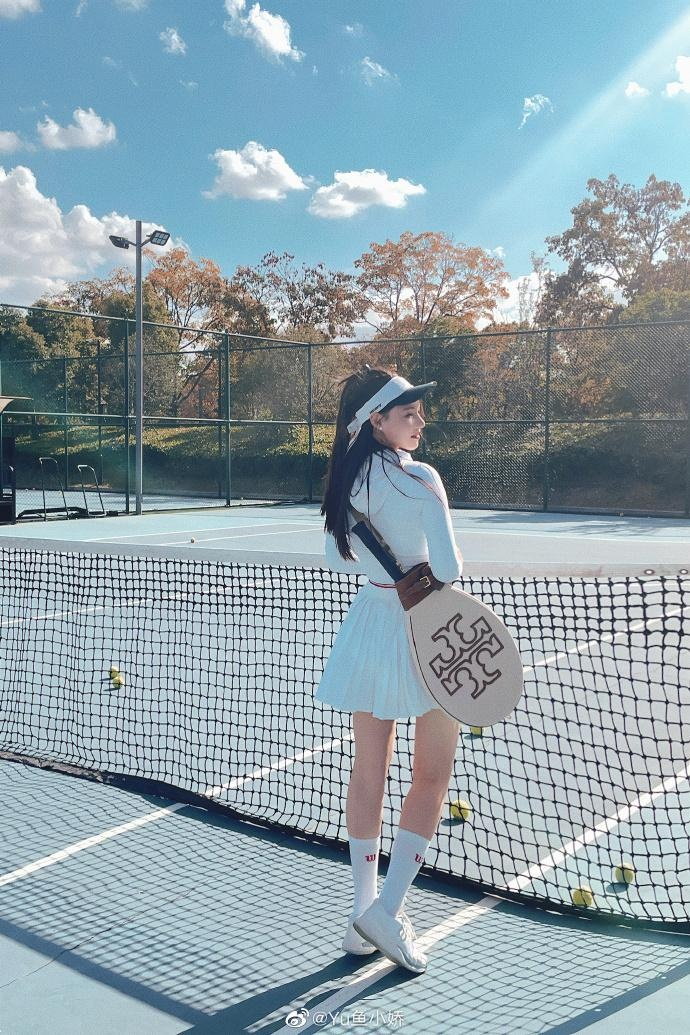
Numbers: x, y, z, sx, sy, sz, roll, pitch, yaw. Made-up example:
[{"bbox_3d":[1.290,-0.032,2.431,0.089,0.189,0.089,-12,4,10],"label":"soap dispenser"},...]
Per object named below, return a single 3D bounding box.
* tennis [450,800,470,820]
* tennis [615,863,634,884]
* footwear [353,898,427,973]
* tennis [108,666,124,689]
[{"bbox_3d":[0.441,1.123,3.939,0.058,0.061,0.068,42,-10,-18],"label":"tennis"},{"bbox_3d":[0.917,1.167,3.350,0.058,0.058,0.052,1,6,13],"label":"tennis"},{"bbox_3d":[0.123,1.124,2.767,0.193,0.222,0.137,-5,8,-39],"label":"footwear"},{"bbox_3d":[-1.311,0.923,5.842,0.058,0.159,0.066,-13,-15,22],"label":"tennis"}]
